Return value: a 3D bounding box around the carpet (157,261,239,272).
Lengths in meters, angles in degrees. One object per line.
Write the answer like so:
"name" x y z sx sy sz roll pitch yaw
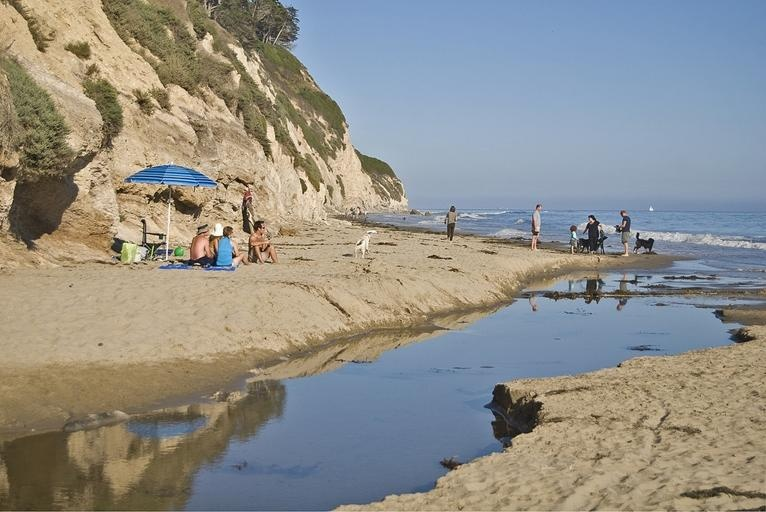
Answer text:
"carpet" -5.069 0.293 21.741 2.050 0.123 0.755 0 10 -11

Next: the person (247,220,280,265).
"person" -3.611 -0.445 23.252 0.741 1.337 0.927 7 12 16

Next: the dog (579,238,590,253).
"dog" 8.691 -0.491 33.952 0.635 0.638 0.630 -1 -7 8

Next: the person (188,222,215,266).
"person" -5.112 -0.350 22.292 0.678 1.034 1.233 0 11 -12
